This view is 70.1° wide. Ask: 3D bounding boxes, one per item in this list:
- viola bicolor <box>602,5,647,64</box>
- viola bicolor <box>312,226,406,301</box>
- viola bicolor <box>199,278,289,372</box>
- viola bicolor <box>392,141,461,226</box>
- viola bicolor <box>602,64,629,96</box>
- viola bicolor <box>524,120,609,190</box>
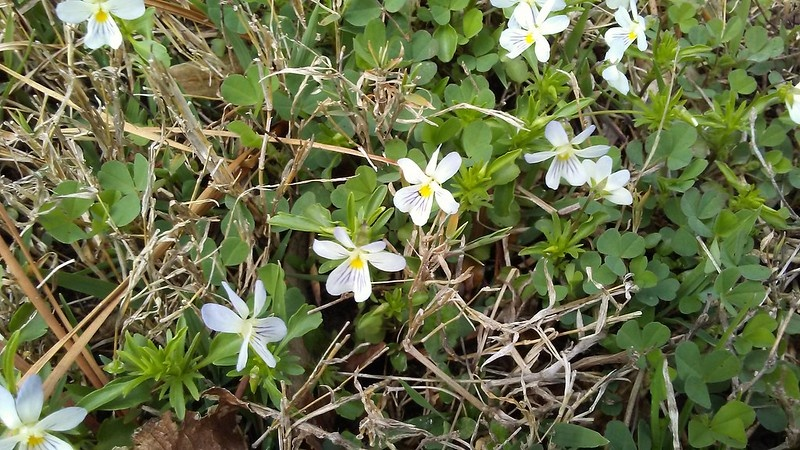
[{"bbox_3d":[1.011,-0.860,2.531,0.168,0.228,0.269,19,43,11],"label":"viola bicolor"},{"bbox_3d":[-0.162,0.129,2.159,0.316,0.293,0.203,-6,44,-17],"label":"viola bicolor"},{"bbox_3d":[-0.560,0.362,2.101,0.325,0.095,0.335,29,3,-27],"label":"viola bicolor"},{"bbox_3d":[0.121,-0.179,2.313,0.114,0.418,0.406,40,4,-7],"label":"viola bicolor"},{"bbox_3d":[0.967,-0.639,2.532,0.111,0.139,0.045,-50,31,-15],"label":"viola bicolor"},{"bbox_3d":[0.688,-0.274,2.382,0.297,0.152,0.298,-3,66,31],"label":"viola bicolor"}]
